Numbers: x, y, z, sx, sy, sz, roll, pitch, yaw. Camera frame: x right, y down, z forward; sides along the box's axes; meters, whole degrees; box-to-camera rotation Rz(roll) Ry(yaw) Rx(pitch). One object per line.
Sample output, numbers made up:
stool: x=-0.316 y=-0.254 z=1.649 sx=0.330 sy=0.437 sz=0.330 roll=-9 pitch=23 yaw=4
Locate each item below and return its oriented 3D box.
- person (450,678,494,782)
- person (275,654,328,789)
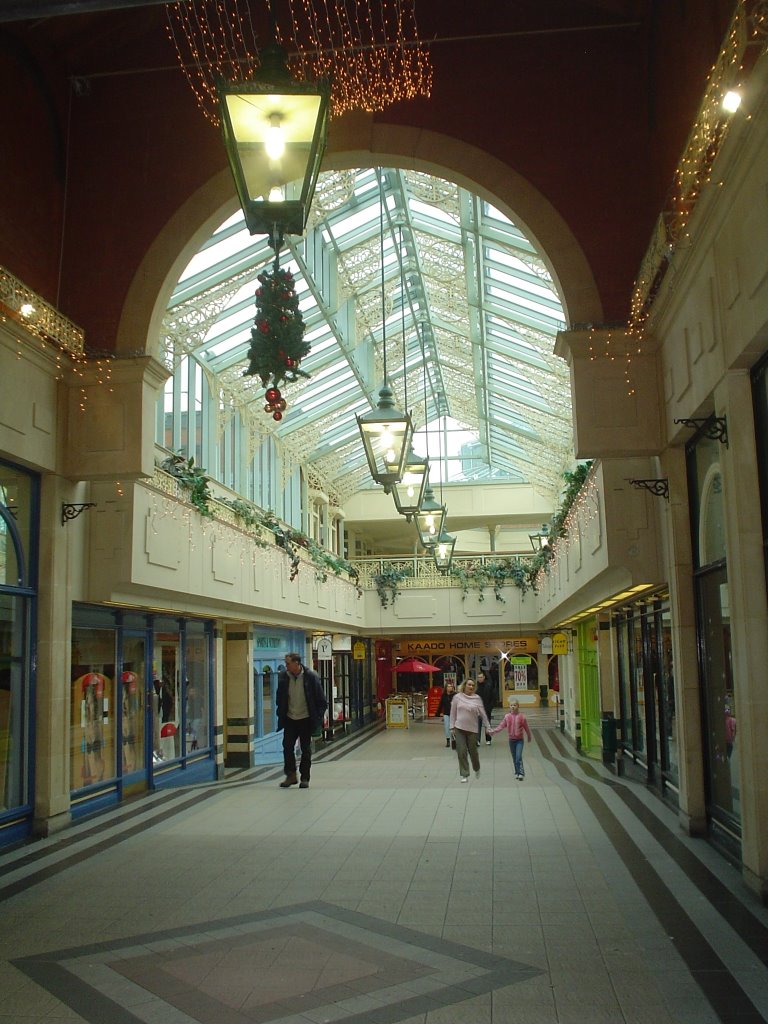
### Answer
person: x=1.261 y=3.249 z=11.277 sx=0.519 sy=1.436 sz=0.761 roll=-4 pitch=-12 yaw=19
person: x=-1.116 y=2.763 z=10.025 sx=0.619 sy=1.735 sz=1.521 roll=1 pitch=-13 yaw=-8
